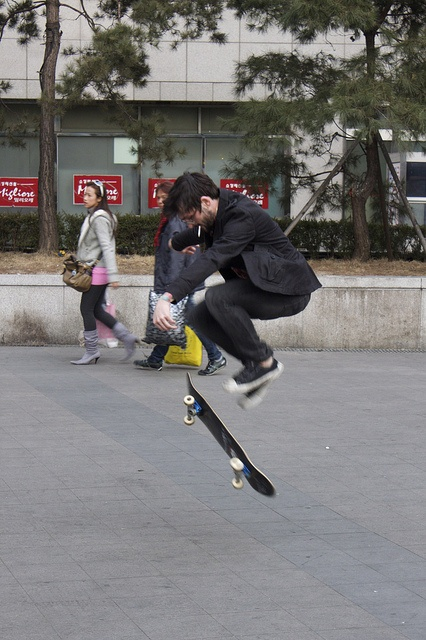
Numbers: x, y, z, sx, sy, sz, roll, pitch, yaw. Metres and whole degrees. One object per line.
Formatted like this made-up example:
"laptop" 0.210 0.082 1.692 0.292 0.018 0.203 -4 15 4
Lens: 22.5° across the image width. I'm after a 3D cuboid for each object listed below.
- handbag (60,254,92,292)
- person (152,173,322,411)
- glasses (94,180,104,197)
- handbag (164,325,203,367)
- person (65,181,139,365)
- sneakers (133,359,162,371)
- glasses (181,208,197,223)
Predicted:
"handbag" -1.214 -0.492 9.432 0.254 0.435 0.428 -5 8 -27
"person" 0.213 -0.074 5.855 1.071 1.418 1.130 -1 -7 -10
"glasses" -0.991 -1.160 9.285 0.095 0.130 0.240 1 8 -6
"handbag" -0.241 0.194 8.811 0.306 0.377 0.124 13 33 23
"person" -0.964 -0.399 9.375 0.586 1.653 0.344 3 8 5
"sneakers" -0.568 0.392 9.400 0.257 0.117 0.097 13 1 4
"glasses" -0.114 -0.531 5.380 0.062 0.030 0.063 -45 14 -22
